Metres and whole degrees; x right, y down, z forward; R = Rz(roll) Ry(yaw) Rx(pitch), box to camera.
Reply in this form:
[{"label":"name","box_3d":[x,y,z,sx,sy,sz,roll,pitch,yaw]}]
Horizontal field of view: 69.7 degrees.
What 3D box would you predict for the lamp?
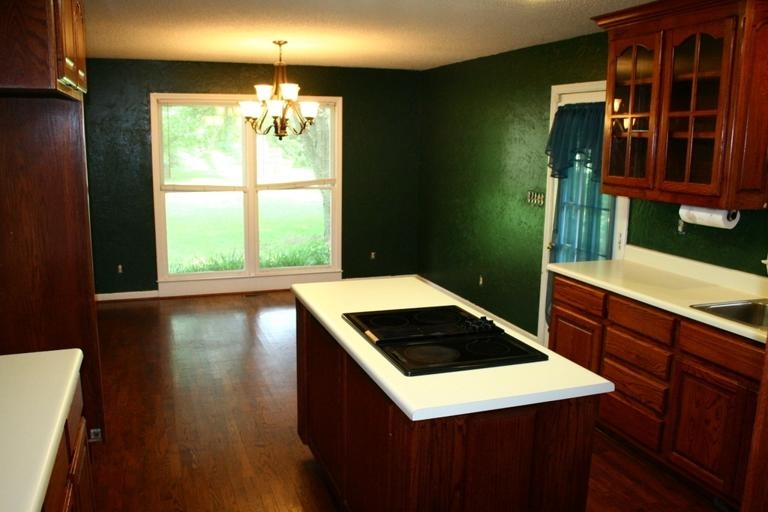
[{"label":"lamp","box_3d":[-1.033,-1.592,5.346,0.804,0.909,0.748,-2,12,-1]}]
